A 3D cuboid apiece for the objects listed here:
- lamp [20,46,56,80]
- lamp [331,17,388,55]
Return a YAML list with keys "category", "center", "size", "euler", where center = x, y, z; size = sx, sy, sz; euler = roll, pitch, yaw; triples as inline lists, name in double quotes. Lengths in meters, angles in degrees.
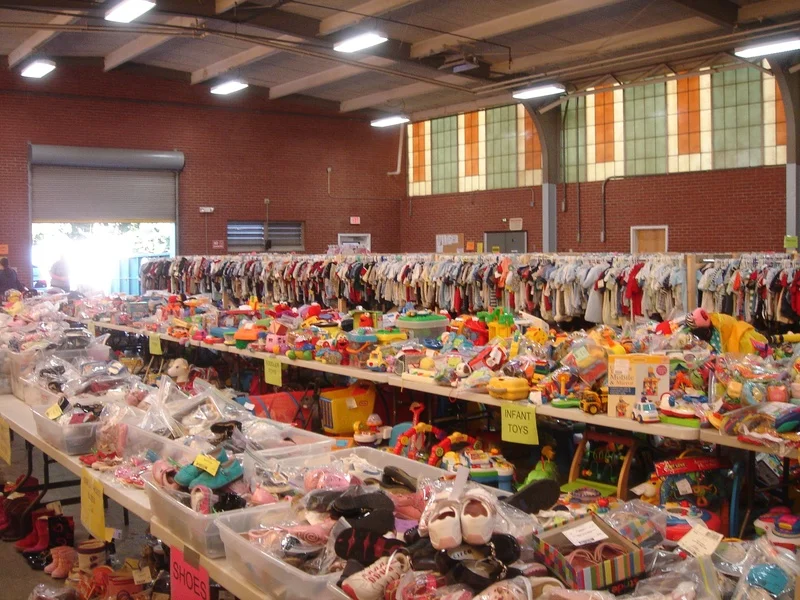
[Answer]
- category: "lamp"
  center: [-7.073, -4.514, 11.470]
  size: [0.611, 0.335, 1.052]
  euler: [4, -2, -42]
- category: "lamp"
  center: [-0.653, -4.087, 9.237]
  size: [0.411, 0.191, 0.959]
  euler: [-6, 6, -39]
